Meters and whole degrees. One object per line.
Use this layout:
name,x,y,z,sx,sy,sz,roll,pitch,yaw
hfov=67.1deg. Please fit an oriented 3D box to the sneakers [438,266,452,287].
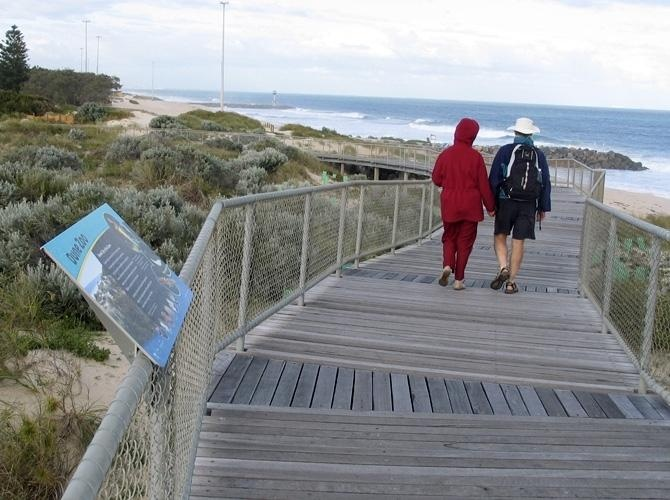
sneakers,1.432,0.363,6.548,0.118,0.338,0.102,11,-5,4

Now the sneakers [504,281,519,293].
sneakers,2.250,0.478,6.423,0.090,0.099,0.254,1,12,21

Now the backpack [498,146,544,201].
backpack,2.256,-0.923,6.153,0.503,0.739,0.411,7,0,-8

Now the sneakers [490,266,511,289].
sneakers,2.127,0.379,6.517,0.139,0.385,0.162,32,1,-4

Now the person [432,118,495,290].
person,1.627,-0.495,6.518,0.823,2.283,0.957,7,22,9
